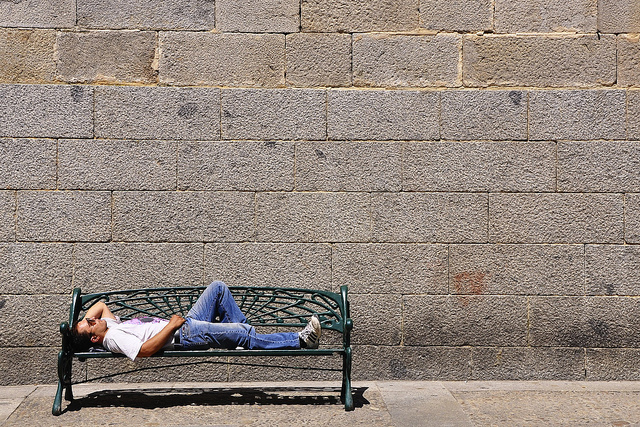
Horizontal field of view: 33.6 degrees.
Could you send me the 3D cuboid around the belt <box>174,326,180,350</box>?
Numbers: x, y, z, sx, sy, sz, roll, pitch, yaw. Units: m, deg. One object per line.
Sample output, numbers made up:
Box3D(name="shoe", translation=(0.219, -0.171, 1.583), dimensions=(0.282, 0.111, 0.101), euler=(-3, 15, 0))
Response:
Box3D(name="belt", translation=(-1.596, 1.406, 11.853), dimensions=(0.065, 0.226, 0.188), euler=(6, 83, -5))
